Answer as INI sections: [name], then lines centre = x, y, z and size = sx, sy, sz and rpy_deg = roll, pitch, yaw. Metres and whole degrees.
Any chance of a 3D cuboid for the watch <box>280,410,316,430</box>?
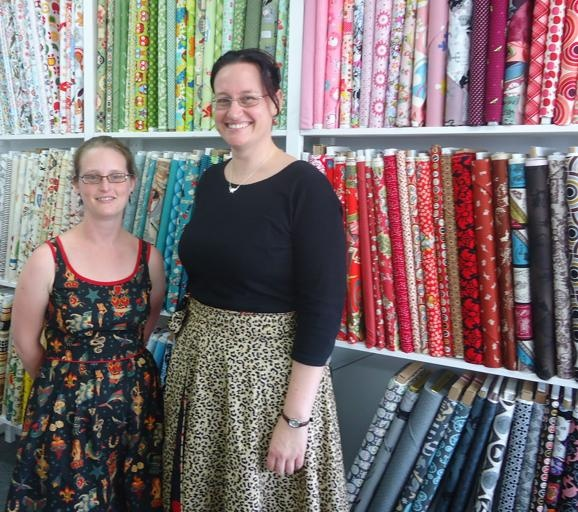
[watch]
centre = 0.015, 0.418, 1.298
size = 0.058, 0.016, 0.048
rpy_deg = 11, -6, 10
